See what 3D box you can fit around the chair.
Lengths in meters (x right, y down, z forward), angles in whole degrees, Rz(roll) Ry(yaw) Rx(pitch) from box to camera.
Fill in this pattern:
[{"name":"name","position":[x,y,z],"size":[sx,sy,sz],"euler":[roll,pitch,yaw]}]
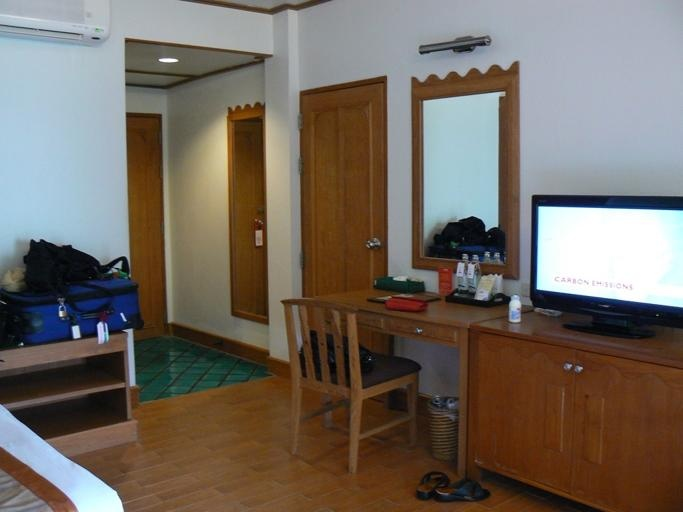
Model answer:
[{"name":"chair","position":[0.081,0.833,3.355],"size":[0.741,1.199,0.777],"euler":[8,15,38]}]

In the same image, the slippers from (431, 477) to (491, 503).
[{"name":"slippers","position":[0.619,1.241,2.853],"size":[0.201,0.066,0.127],"euler":[-1,-1,-3]}]

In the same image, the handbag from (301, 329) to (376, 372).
[{"name":"handbag","position":[-0.018,0.592,3.260],"size":[0.291,0.088,0.284],"euler":[-1,8,-16]}]

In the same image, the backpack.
[{"name":"backpack","position":[-1.736,0.087,3.386],"size":[0.448,0.177,0.455],"euler":[15,16,36]}]

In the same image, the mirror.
[{"name":"mirror","position":[0.789,-0.540,3.533],"size":[0.806,1.324,0.100],"euler":[5,8,44]}]

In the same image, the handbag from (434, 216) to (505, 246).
[{"name":"handbag","position":[0.825,-0.154,3.552],"size":[0.141,0.171,0.425],"euler":[0,4,-38]}]

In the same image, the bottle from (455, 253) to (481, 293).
[{"name":"bottle","position":[0.807,0.111,3.446],"size":[0.159,0.218,0.292],"euler":[0,6,12]}]
